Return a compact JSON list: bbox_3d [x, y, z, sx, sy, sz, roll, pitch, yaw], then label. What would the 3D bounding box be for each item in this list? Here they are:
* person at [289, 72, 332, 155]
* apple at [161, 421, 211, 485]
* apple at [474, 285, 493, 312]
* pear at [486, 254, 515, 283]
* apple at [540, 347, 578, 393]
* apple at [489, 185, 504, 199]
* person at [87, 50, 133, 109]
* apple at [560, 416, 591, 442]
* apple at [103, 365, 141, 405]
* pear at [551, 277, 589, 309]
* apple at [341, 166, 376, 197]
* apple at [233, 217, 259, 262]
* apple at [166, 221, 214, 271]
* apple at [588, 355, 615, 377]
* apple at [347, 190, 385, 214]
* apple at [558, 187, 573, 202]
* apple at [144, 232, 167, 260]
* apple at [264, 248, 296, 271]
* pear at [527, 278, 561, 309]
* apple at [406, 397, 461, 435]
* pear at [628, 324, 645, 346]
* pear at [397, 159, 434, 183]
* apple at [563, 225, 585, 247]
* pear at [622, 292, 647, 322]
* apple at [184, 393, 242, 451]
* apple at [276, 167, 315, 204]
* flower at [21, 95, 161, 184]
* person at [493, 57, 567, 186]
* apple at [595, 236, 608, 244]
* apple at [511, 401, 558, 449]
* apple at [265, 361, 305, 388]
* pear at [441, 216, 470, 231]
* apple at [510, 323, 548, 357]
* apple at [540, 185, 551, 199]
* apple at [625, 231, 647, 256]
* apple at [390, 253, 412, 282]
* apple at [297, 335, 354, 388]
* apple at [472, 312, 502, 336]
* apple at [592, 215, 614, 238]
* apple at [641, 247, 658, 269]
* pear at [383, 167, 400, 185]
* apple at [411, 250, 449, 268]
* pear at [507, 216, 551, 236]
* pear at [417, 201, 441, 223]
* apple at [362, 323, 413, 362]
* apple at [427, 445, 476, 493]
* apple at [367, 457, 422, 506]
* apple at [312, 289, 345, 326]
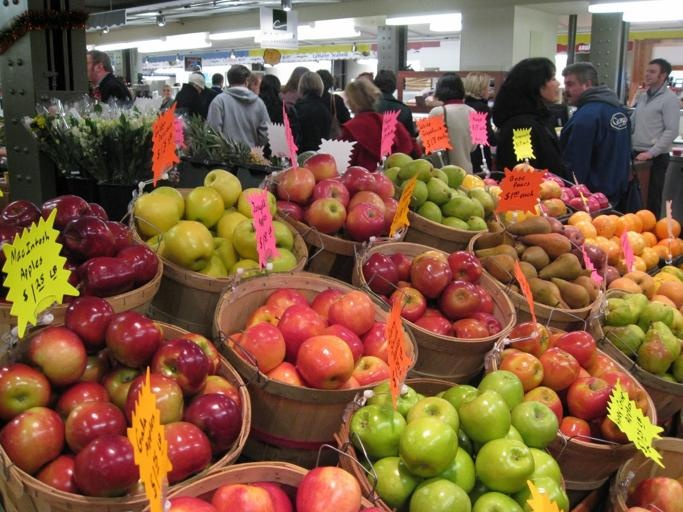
[{"bbox_3d":[-0.389,-1.534,5.244,0.372,0.865,0.685,11,19,32],"label":"person"},{"bbox_3d":[-0.424,0.538,1.350,0.130,0.152,0.137,8,-37,-26],"label":"apple"},{"bbox_3d":[0.673,0.210,2.298,0.065,0.130,0.091,-21,-10,17],"label":"apple"},{"bbox_3d":[0.803,0.068,2.474,0.094,0.100,0.128,-28,56,-31],"label":"pear"},{"bbox_3d":[0.871,0.470,1.958,0.122,0.142,0.133,-10,-1,21],"label":"apple"},{"bbox_3d":[1.021,-0.426,3.237,0.075,0.090,0.108,-1,9,-1],"label":"apple"},{"bbox_3d":[-2.504,-1.763,5.273,0.388,0.826,0.486,-9,16,-33],"label":"person"},{"bbox_3d":[0.862,0.635,1.812,0.080,0.088,0.079,12,-32,-23],"label":"apple"},{"bbox_3d":[-0.680,0.405,1.552,0.107,0.117,0.117,-12,50,-24],"label":"apple"},{"bbox_3d":[1.129,0.183,2.452,0.171,0.104,0.099,33,12,21],"label":"pear"},{"bbox_3d":[0.104,-0.437,2.749,0.153,0.169,0.158,-40,-5,25],"label":"apple"},{"bbox_3d":[-0.446,-0.076,2.270,0.153,0.203,0.155,0,5,-27],"label":"apple"},{"bbox_3d":[-0.647,-0.050,2.133,0.197,0.191,0.243,-3,36,-14],"label":"apple"},{"bbox_3d":[1.085,0.460,2.048,0.083,0.112,0.086,1,1,41],"label":"apple"},{"bbox_3d":[0.140,-0.303,2.588,0.126,0.138,0.134,4,7,-26],"label":"apple"},{"bbox_3d":[1.686,-0.462,3.664,0.104,0.119,0.101,2,-5,-43],"label":"apple"},{"bbox_3d":[-0.790,-0.042,2.092,0.066,0.093,0.064,47,21,25],"label":"apple"},{"bbox_3d":[-0.277,0.021,2.291,0.097,0.109,0.105,-2,-3,20],"label":"apple"},{"bbox_3d":[0.978,0.174,2.404,0.150,0.098,0.091,35,32,18],"label":"pear"},{"bbox_3d":[0.295,0.493,1.570,0.116,0.126,0.118,-24,39,-31],"label":"apple"},{"bbox_3d":[1.361,0.361,2.265,0.070,0.103,0.085,-2,-12,22],"label":"pear"},{"bbox_3d":[0.442,-0.487,2.962,0.179,0.146,0.136,-12,-2,31],"label":"pear"},{"bbox_3d":[1.338,-0.115,2.828,0.071,0.070,0.087,35,8,-17],"label":"apple"},{"bbox_3d":[1.446,0.231,2.426,0.078,0.066,0.167,-3,42,15],"label":"pear"},{"bbox_3d":[-0.373,0.476,1.525,0.152,0.177,0.159,11,-1,-1],"label":"apple"},{"bbox_3d":[-0.235,-0.389,2.707,0.203,0.215,0.214,7,13,12],"label":"apple"},{"bbox_3d":[-1.445,-0.723,3.002,0.775,0.532,0.602,12,23,20],"label":"flower"},{"bbox_3d":[1.662,-1.209,4.307,0.681,1.047,0.746,8,18,25],"label":"person"},{"bbox_3d":[1.628,-0.103,3.085,0.056,0.061,0.058,10,-10,-13],"label":"apple"},{"bbox_3d":[0.631,0.553,1.681,0.137,0.147,0.148,-1,32,-6],"label":"apple"},{"bbox_3d":[-0.196,0.417,1.731,0.077,0.080,0.080,-11,-35,33],"label":"apple"},{"bbox_3d":[0.660,-0.189,2.805,0.121,0.076,0.067,25,-26,4],"label":"pear"},{"bbox_3d":[0.785,0.320,2.092,0.154,0.149,0.138,-12,2,14],"label":"apple"},{"bbox_3d":[1.414,-0.449,3.415,0.065,0.083,0.070,-23,29,14],"label":"apple"},{"bbox_3d":[1.876,-0.080,3.134,0.094,0.108,0.127,-5,44,0],"label":"apple"},{"bbox_3d":[0.298,0.045,2.399,0.114,0.152,0.118,-7,8,-37],"label":"apple"},{"bbox_3d":[-0.056,0.361,1.671,0.153,0.190,0.205,-18,14,7],"label":"apple"},{"bbox_3d":[0.652,0.291,2.177,0.090,0.095,0.142,5,20,3],"label":"apple"},{"bbox_3d":[1.709,-0.192,3.206,0.080,0.087,0.106,18,34,-25],"label":"apple"},{"bbox_3d":[1.992,0.014,3.186,0.076,0.084,0.085,-15,38,19],"label":"apple"},{"bbox_3d":[0.312,-0.496,3.049,0.092,0.124,0.098,1,0,6],"label":"pear"},{"bbox_3d":[0.451,-0.005,2.385,0.092,0.099,0.093,13,-10,-30],"label":"apple"},{"bbox_3d":[1.056,-0.169,2.772,0.215,0.113,0.111,-5,9,2],"label":"pear"},{"bbox_3d":[0.500,-0.243,2.853,0.129,0.112,0.119,29,-10,2],"label":"pear"},{"bbox_3d":[0.186,0.327,1.962,0.136,0.195,0.152,-2,0,6],"label":"apple"},{"bbox_3d":[0.326,0.638,1.513,0.117,0.162,0.125,-1,-4,1],"label":"apple"},{"bbox_3d":[0.159,0.677,1.461,0.114,0.151,0.122,0,-26,-2],"label":"apple"},{"bbox_3d":[-0.069,0.207,2.071,0.115,0.153,0.119,21,-15,-8],"label":"apple"}]
